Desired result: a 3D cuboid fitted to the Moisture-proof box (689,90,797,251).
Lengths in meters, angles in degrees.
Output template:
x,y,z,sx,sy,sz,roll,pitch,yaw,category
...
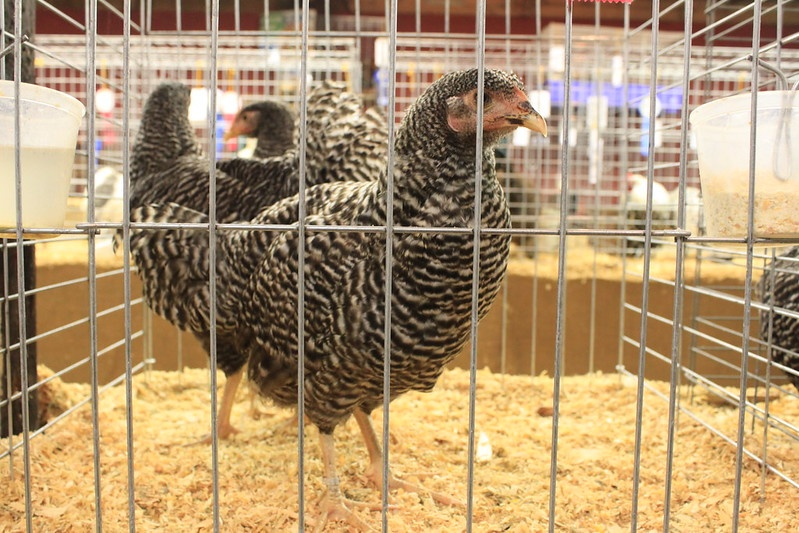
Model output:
x,y,z,sx,sy,sz,roll,pitch,yaw,category
1.870,-0.536,6.435,0.619,0.683,0.707,1,2,14,Moisture-proof box
